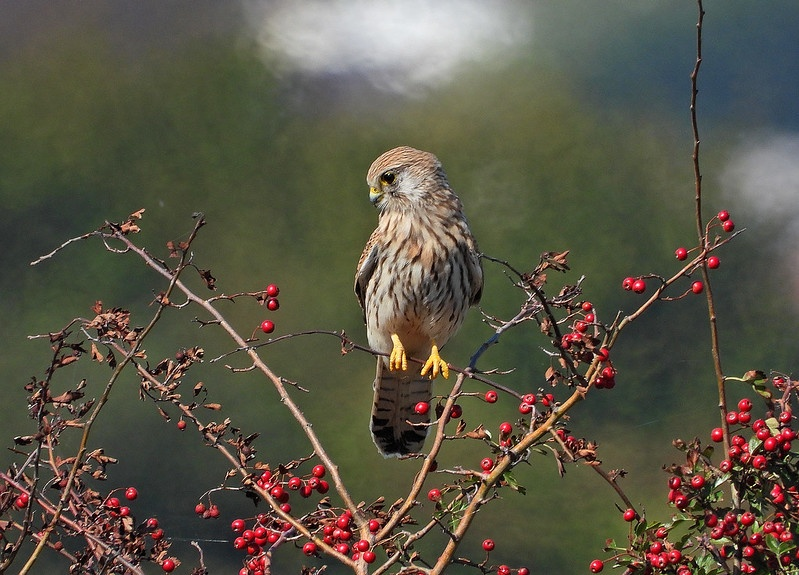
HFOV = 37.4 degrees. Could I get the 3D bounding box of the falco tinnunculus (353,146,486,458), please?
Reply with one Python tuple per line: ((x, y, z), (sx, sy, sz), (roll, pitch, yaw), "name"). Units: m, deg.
((0.095, -0.115, 8.106), (0.683, 1.779, 1.018), (1, 3, -3), "falco tinnunculus")
